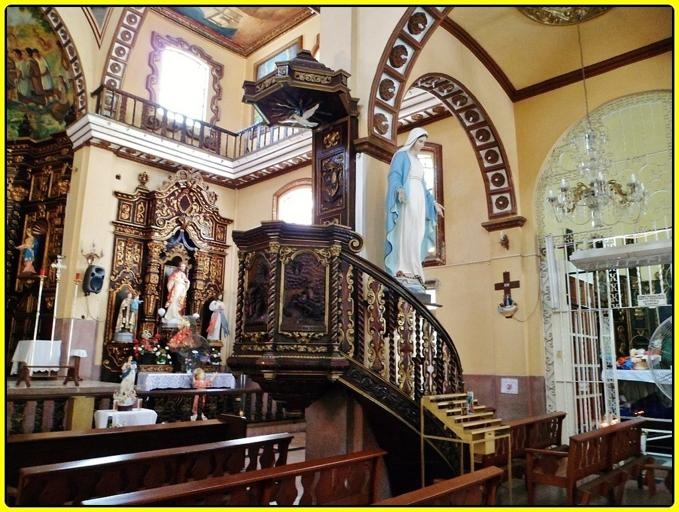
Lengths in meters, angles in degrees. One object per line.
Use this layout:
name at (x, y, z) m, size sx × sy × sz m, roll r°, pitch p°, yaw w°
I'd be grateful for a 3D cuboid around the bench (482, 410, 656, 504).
bench at (2.983, 2.397, 5.971) m, size 1.713 × 0.859 × 0.797 m, roll 8°, pitch -16°, yaw -30°

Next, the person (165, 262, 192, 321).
person at (-3.812, 0.904, 12.067) m, size 0.490 × 1.435 × 0.486 m, roll 5°, pitch -15°, yaw -20°

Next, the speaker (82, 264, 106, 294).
speaker at (-5.211, 0.509, 10.965) m, size 0.352 × 0.641 × 0.384 m, roll -9°, pitch -16°, yaw 32°

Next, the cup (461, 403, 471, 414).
cup at (1.399, 1.725, 5.774) m, size 0.107 × 0.039 × 0.076 m, roll 0°, pitch -1°, yaw -20°

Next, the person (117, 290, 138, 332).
person at (-4.653, 1.311, 11.450) m, size 0.273 × 0.796 × 0.532 m, roll -7°, pitch -16°, yaw 29°

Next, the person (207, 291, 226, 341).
person at (-2.984, 1.507, 12.668) m, size 0.479 × 1.248 × 0.889 m, roll 3°, pitch -14°, yaw -12°

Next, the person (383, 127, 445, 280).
person at (0.901, -0.592, 6.394) m, size 0.717 × 1.949 × 0.666 m, roll 0°, pitch -14°, yaw 2°

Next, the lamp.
lamp at (3.869, -2.005, 8.190) m, size 1.256 × 3.575 × 1.845 m, roll -6°, pitch -15°, yaw 24°
